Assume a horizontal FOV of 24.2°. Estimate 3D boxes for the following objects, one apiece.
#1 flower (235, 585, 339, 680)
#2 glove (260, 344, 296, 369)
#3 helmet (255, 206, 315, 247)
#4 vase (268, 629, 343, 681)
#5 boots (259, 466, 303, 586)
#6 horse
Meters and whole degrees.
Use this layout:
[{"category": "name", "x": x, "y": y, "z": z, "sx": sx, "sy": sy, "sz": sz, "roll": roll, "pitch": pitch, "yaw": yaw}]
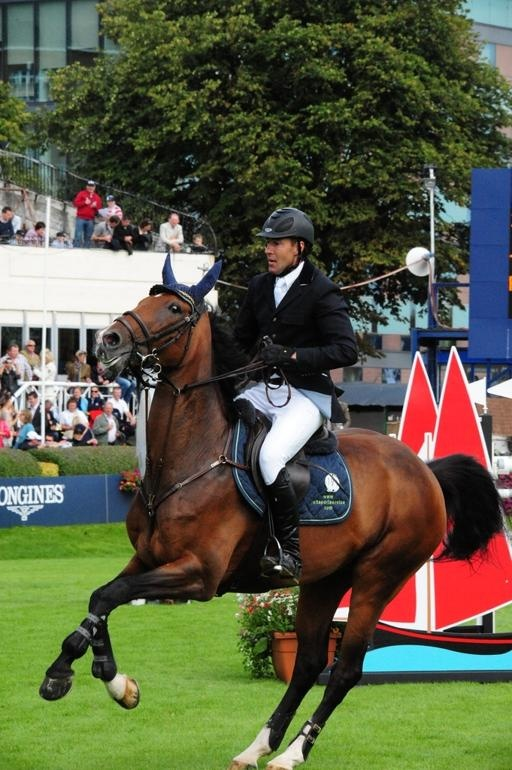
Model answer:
[{"category": "flower", "x": 0.085, "y": 1.886, "z": 9.093, "sx": 0.906, "sy": 0.826, "sz": 0.729, "roll": 1, "pitch": -10, "yaw": -10}, {"category": "glove", "x": 0.111, "y": -0.166, "z": 6.632, "sx": 0.159, "sy": 0.065, "sz": 0.119, "roll": -2, "pitch": 12, "yaw": -21}, {"category": "helmet", "x": 0.175, "y": -0.914, "z": 6.882, "sx": 0.305, "sy": 0.164, "sz": 0.206, "roll": 2, "pitch": 4, "yaw": -36}, {"category": "vase", "x": 0.365, "y": 1.983, "z": 8.793, "sx": 0.592, "sy": 0.401, "sz": 0.553, "roll": 1, "pitch": -14, "yaw": 0}, {"category": "boots", "x": 0.141, "y": 0.777, "z": 6.465, "sx": 0.205, "sy": 0.618, "sz": 0.323, "roll": 3, "pitch": 2, "yaw": 2}, {"category": "horse", "x": 0.110, "y": 0.764, "z": 6.850, "sx": 0.819, "sy": 2.890, "sz": 2.969, "roll": 5, "pitch": 3, "yaw": 43}]
